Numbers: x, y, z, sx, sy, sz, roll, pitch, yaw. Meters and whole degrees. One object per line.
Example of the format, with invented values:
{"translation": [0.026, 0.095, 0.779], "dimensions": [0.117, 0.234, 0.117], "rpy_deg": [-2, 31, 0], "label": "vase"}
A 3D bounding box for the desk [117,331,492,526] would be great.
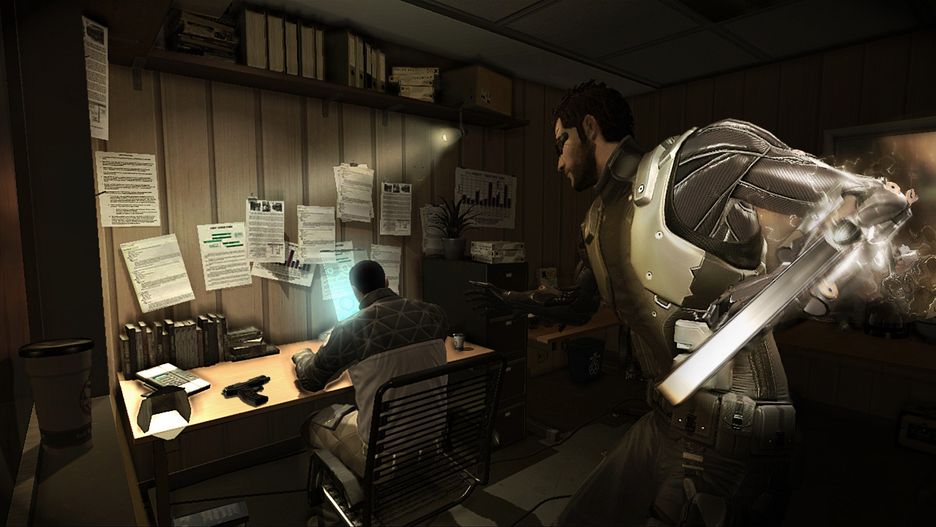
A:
{"translation": [-1.025, 1.015, 3.662], "dimensions": [1.313, 0.611, 0.527], "rpy_deg": [-6, 8, -34], "label": "desk"}

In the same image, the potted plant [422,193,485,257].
{"translation": [-0.165, -0.326, 5.064], "dimensions": [0.519, 0.469, 0.505], "rpy_deg": [2, 4, 22], "label": "potted plant"}

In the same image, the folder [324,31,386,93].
{"translation": [-0.834, -1.494, 4.388], "dimensions": [0.433, 0.394, 0.231], "rpy_deg": [-4, 10, -13], "label": "folder"}
